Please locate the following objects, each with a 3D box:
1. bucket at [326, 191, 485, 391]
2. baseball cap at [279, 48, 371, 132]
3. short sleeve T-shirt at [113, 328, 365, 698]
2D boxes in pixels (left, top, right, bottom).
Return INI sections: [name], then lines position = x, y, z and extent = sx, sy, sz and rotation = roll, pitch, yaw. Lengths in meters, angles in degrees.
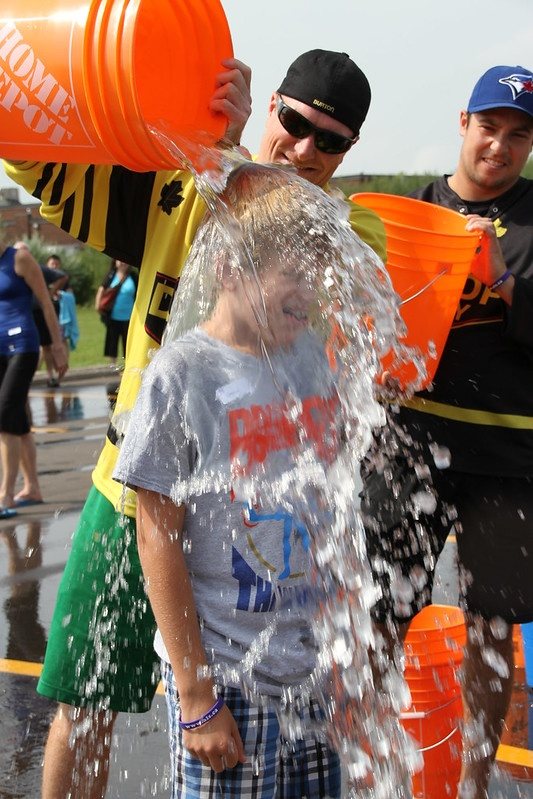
[bucket]
position = 0.464, -0.349, 2.218
extent = 0.545, 0.546, 0.500
rotation = 11, 6, -1
[baseball cap]
position = 0.189, -0.898, 1.878
extent = 0.261, 0.158, 0.272
rotation = 28, 30, 2
[short sleeve T-shirt]
position = -0.001, 0.171, 1.163
extent = 0.254, 0.592, 0.503
rotation = 11, 6, 35
